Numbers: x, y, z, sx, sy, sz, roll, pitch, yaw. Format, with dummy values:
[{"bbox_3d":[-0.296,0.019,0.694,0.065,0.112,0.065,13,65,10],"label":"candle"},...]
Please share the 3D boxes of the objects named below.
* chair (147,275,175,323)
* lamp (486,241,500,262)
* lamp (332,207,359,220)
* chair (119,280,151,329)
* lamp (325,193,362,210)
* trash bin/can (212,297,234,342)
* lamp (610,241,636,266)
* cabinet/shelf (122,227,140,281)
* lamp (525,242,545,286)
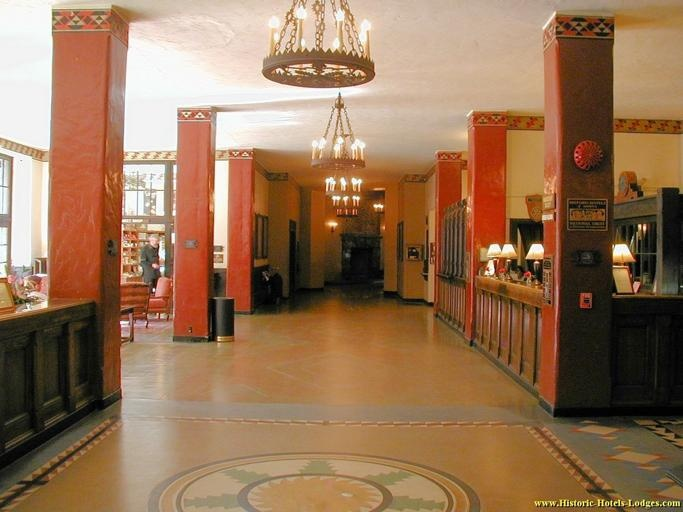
[{"bbox_3d":[-4.157,0.993,12.034,0.691,0.786,1.151,-4,-2,-18],"label":"chair"},{"bbox_3d":[2.617,-0.083,9.058,0.310,0.267,0.293,-1,-4,36],"label":"lamp"},{"bbox_3d":[0.108,-1.677,20.508,1.072,0.330,1.026,-1,3,-1],"label":"lamp"},{"bbox_3d":[-4.103,0.990,10.883,0.757,0.861,0.758,2,-4,-9],"label":"chair"},{"bbox_3d":[0.043,-1.931,18.572,1.406,0.460,1.345,1,6,6],"label":"lamp"},{"bbox_3d":[-2.180,1.172,9.754,0.366,0.773,0.273,0,3,-6],"label":"trash bin/can"},{"bbox_3d":[3.403,-0.018,6.360,0.205,0.258,0.551,2,4,29],"label":"lamp"},{"bbox_3d":[-5.600,-0.056,14.050,0.515,1.202,0.180,0,10,-22],"label":"cabinet/shelf"},{"bbox_3d":[2.902,0.120,7.817,0.360,0.579,0.336,2,-7,-5],"label":"lamp"}]
